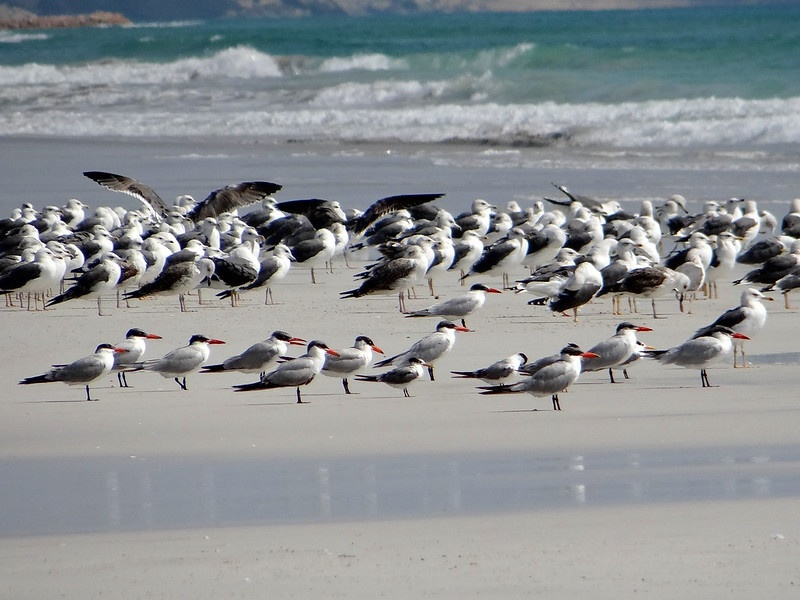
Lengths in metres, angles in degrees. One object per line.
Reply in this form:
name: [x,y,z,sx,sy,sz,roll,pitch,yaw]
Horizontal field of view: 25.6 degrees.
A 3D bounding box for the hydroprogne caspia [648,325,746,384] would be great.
hydroprogne caspia: [5.902,1.119,35.048,1.886,1.182,0.598,-2,7,6]
